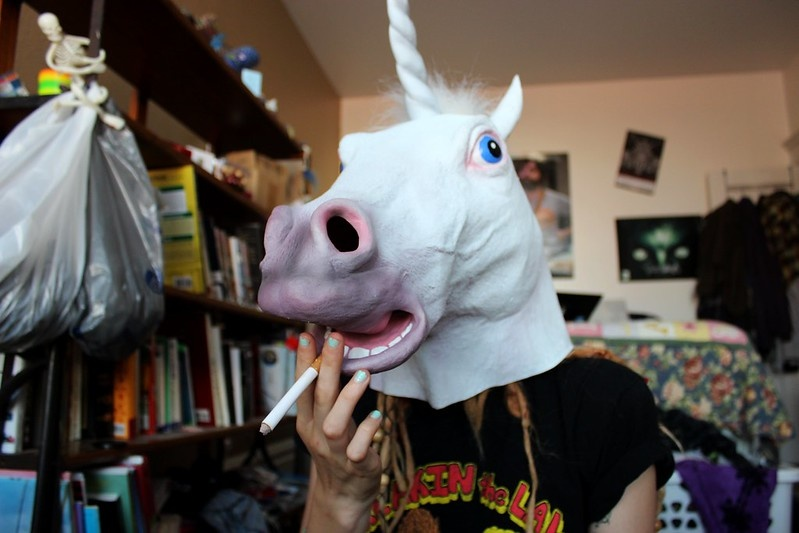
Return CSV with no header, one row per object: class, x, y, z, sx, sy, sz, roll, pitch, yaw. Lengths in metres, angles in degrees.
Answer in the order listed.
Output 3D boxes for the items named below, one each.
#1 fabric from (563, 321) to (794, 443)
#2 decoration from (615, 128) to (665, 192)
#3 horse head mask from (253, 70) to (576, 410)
fabric,0.858,0.304,1.980,0.497,0.167,0.359,4,3,18
decoration,0.677,-0.295,1.833,0.112,0.166,0.038,14,-6,18
horse head mask,0.055,-0.081,1.459,0.495,0.776,0.830,1,4,38
